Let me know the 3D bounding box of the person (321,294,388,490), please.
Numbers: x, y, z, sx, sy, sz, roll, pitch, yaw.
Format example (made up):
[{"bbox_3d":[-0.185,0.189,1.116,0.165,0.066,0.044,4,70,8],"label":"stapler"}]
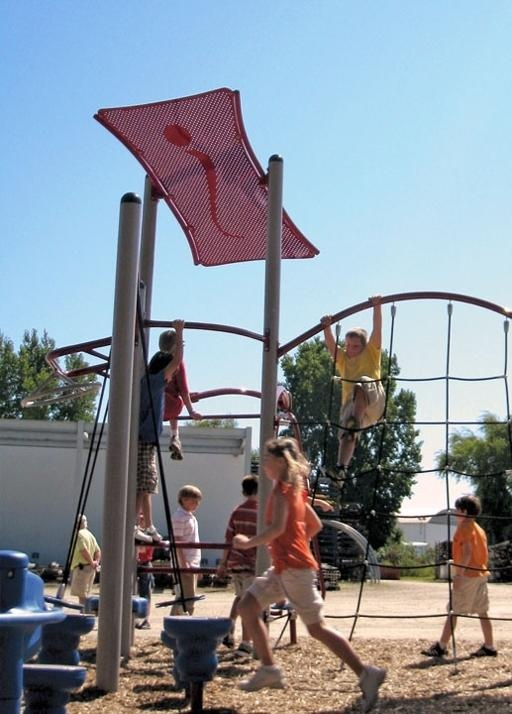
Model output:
[{"bbox_3d":[0.778,0.189,8.115,0.553,1.455,0.528,20,-40,-17],"label":"person"}]

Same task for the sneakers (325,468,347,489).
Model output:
[{"bbox_3d":[0.599,0.914,7.835,0.139,0.165,0.093,-2,5,41],"label":"sneakers"}]

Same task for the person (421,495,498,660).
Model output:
[{"bbox_3d":[1.550,1.640,7.925,0.515,1.174,1.210,1,-5,11],"label":"person"}]

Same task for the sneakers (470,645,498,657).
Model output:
[{"bbox_3d":[1.649,2.128,7.615,0.223,0.095,0.074,4,-18,5],"label":"sneakers"}]

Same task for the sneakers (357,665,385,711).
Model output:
[{"bbox_3d":[0.626,1.825,5.678,0.146,0.331,0.114,4,10,-5],"label":"sneakers"}]

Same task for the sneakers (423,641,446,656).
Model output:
[{"bbox_3d":[1.281,2.119,7.609,0.211,0.086,0.071,0,-13,10],"label":"sneakers"}]

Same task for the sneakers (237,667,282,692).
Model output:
[{"bbox_3d":[0.001,1.693,5.548,0.277,0.179,0.094,2,-21,-1],"label":"sneakers"}]

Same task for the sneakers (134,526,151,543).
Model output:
[{"bbox_3d":[-0.783,1.258,7.424,0.075,0.087,0.214,1,-1,-7],"label":"sneakers"}]

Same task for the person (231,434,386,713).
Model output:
[{"bbox_3d":[0.297,1.185,5.810,0.792,1.459,0.596,1,-5,6],"label":"person"}]
